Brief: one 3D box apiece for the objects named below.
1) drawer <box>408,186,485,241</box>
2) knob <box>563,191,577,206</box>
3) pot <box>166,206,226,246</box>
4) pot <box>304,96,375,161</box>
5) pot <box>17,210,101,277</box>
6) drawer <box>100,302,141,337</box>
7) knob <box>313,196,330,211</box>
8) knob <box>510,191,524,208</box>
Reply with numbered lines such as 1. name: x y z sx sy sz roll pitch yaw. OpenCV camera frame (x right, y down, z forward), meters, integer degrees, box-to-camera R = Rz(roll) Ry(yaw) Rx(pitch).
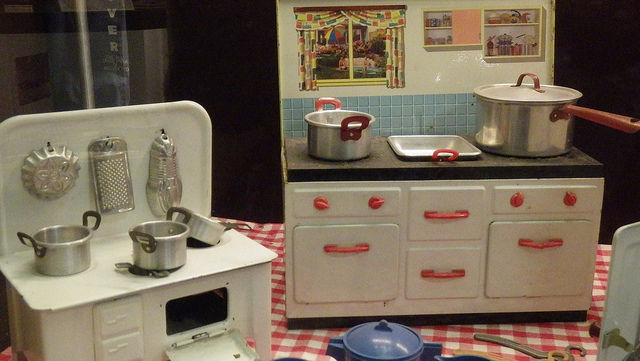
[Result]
1. drawer: 0.926 0.244 3.935 0.556 0.410 0.073 -3 20 -1
2. knob: 1.844 0.132 3.924 0.103 0.110 0.033 -3 20 -3
3. pot: -0.772 0.268 3.396 0.349 0.120 0.205 23 -3 -12
4. pot: 0.138 -0.412 4.153 0.534 0.346 0.655 0 20 -5
5. pot: -1.500 0.367 3.166 0.420 0.292 0.294 -18 24 -39
6. drawer: -1.136 0.779 3.024 0.218 0.155 0.030 -9 21 -19
7. knob: 0.008 0.164 3.891 0.112 0.080 0.036 23 1 -5
8. knob: 1.441 0.134 3.902 0.090 0.106 0.037 8 -7 17
